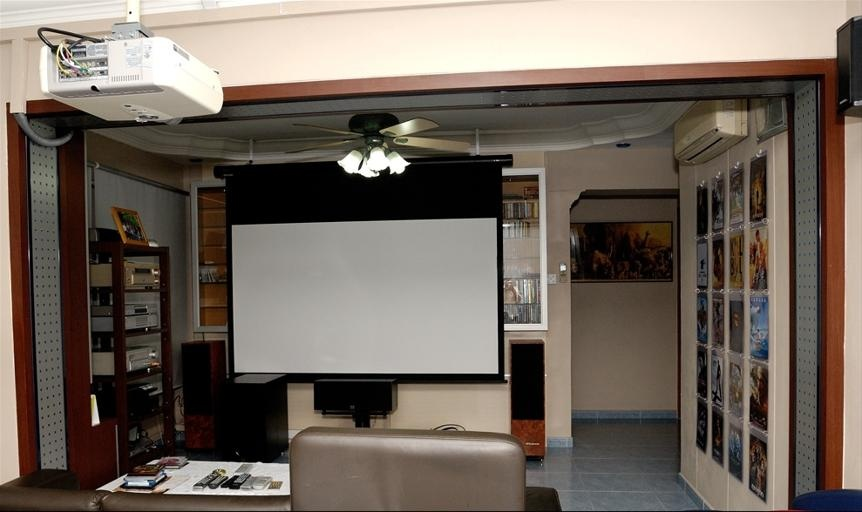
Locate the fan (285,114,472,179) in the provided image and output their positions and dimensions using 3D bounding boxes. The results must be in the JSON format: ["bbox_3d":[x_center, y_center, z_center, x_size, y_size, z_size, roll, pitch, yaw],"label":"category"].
[{"bbox_3d":[-0.499,-1.088,6.552,1.046,0.302,1.024,-1,0,22],"label":"fan"}]

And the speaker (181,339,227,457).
[{"bbox_3d":[-2.562,1.587,7.738,0.445,1.231,0.262,-1,-3,-19],"label":"speaker"}]

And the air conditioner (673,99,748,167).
[{"bbox_3d":[2.402,-1.108,5.947,0.299,0.477,0.772,-1,-4,-7],"label":"air conditioner"}]

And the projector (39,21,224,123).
[{"bbox_3d":[-1.966,-1.184,4.436,0.679,0.466,0.919,2,1,7],"label":"projector"}]

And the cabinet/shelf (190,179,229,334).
[{"bbox_3d":[-2.669,0.011,8.214,0.387,1.825,0.242,-1,-3,-15],"label":"cabinet/shelf"}]

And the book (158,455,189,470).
[{"bbox_3d":[-2.255,1.829,6.064,0.205,0.048,0.205,2,-1,9],"label":"book"}]

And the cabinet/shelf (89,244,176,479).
[{"bbox_3d":[-3.045,1.001,7.015,0.484,2.270,0.931,-3,-3,20],"label":"cabinet/shelf"}]

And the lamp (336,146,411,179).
[{"bbox_3d":[-0.600,-0.891,6.482,0.454,0.179,0.435,-1,0,29],"label":"lamp"}]

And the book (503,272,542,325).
[{"bbox_3d":[1.040,0.499,7.782,0.605,0.764,0.064,0,-2,0],"label":"book"}]
